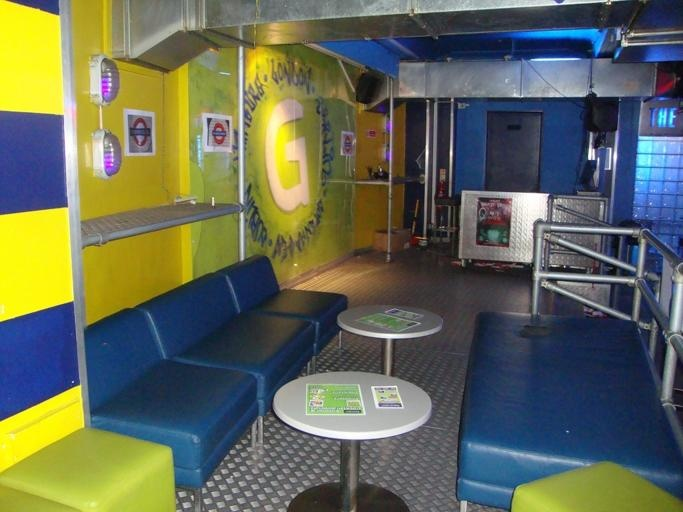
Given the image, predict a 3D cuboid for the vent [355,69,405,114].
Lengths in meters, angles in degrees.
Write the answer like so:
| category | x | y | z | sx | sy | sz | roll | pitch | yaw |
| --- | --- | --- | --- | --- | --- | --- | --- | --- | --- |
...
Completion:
| category | x | y | z | sx | sy | sz | roll | pitch | yaw |
| --- | --- | --- | --- | --- | --- | --- | --- | --- | --- |
| vent | 0.685 | -2.857 | 9.040 | 0.572 | 0.753 | 0.947 | -1 | 15 | -8 |
